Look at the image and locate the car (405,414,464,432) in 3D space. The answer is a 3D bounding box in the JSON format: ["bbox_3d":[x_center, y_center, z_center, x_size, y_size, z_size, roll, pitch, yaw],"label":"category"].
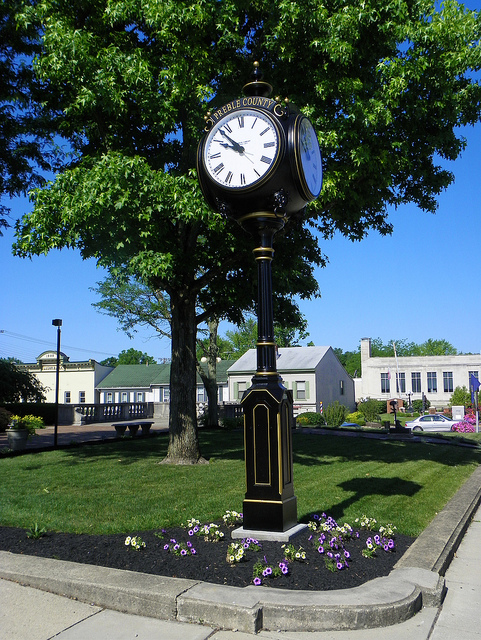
[{"bbox_3d":[12.466,6.719,38.662,3.070,0.944,2.399,-4,-7,34],"label":"car"}]

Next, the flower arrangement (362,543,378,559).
[{"bbox_3d":[1.309,2.314,5.967,0.088,0.141,0.142,6,36,-15],"label":"flower arrangement"}]

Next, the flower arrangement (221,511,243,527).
[{"bbox_3d":[-0.108,2.354,7.120,0.185,0.138,0.194,2,-5,-10],"label":"flower arrangement"}]

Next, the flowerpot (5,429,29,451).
[{"bbox_3d":[-6.265,3.330,16.558,0.521,0.418,0.540,-8,-10,37],"label":"flowerpot"}]

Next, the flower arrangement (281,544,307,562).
[{"bbox_3d":[0.512,2.215,5.664,0.150,0.085,0.155,-4,-5,6],"label":"flower arrangement"}]

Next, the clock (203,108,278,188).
[{"bbox_3d":[0.030,-1.902,6.617,0.900,0.951,0.072,2,-6,34],"label":"clock"}]

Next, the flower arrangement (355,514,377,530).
[{"bbox_3d":[1.473,2.302,6.892,0.188,0.170,0.191,-8,-10,-10],"label":"flower arrangement"}]

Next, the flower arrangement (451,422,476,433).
[{"bbox_3d":[12.934,6.220,34.564,0.676,0.601,2.196,0,-6,-1],"label":"flower arrangement"}]

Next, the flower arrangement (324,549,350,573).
[{"bbox_3d":[0.891,2.250,5.555,0.168,0.099,0.187,-1,1,19],"label":"flower arrangement"}]

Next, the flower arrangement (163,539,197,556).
[{"bbox_3d":[-0.602,2.259,5.944,0.362,0.128,0.229,-6,-8,42],"label":"flower arrangement"}]

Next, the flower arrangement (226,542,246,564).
[{"bbox_3d":[-0.049,2.199,5.623,0.150,0.153,0.163,-11,2,33],"label":"flower arrangement"}]
